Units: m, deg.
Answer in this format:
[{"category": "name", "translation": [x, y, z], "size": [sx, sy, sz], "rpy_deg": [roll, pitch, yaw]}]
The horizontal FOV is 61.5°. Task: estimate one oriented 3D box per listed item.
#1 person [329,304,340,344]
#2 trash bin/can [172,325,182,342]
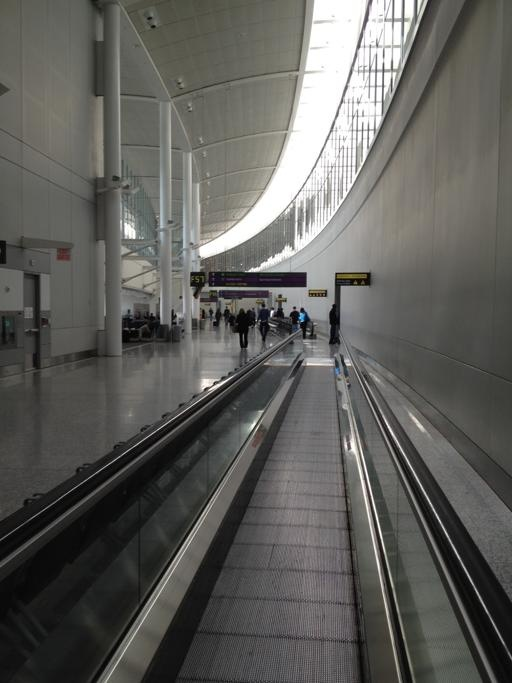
[{"category": "person", "translation": [3.905, -0.803, 21.312], "size": [0.432, 1.693, 2.616], "rpy_deg": [4, 3, 11]}, {"category": "trash bin/can", "translation": [-3.983, -0.405, 21.532], "size": [0.425, 0.815, 0.559], "rpy_deg": [3, 4, -27]}]
